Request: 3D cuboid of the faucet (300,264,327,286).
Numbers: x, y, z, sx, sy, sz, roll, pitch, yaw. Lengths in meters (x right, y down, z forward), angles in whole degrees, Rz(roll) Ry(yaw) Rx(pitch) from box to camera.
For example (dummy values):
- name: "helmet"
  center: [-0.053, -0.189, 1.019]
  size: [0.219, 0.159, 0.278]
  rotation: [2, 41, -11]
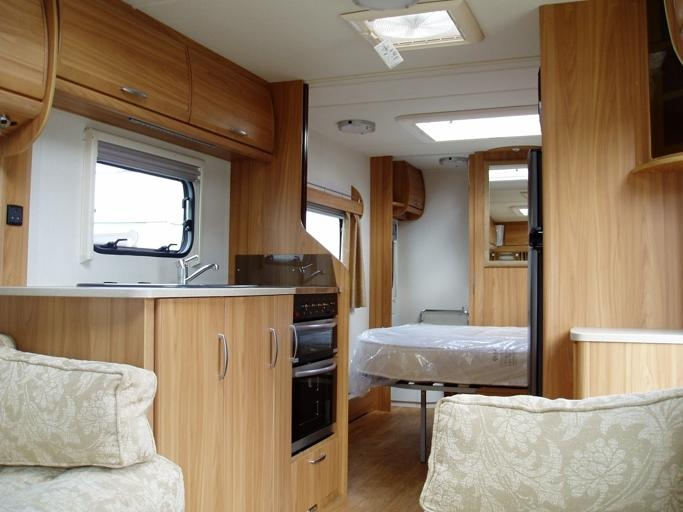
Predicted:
- name: "faucet"
  center: [-0.195, 0.133, 3.632]
  size: [0.162, 0.258, 0.115]
  rotation: [2, 2, 18]

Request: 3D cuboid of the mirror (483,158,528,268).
- name: "mirror"
  center: [1.728, -0.425, 5.602]
  size: [0.446, 1.084, 0.255]
  rotation: [-2, -4, 16]

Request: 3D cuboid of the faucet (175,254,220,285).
- name: "faucet"
  center: [-0.918, 0.082, 3.392]
  size: [0.228, 0.211, 0.622]
  rotation: [0, -5, -14]
